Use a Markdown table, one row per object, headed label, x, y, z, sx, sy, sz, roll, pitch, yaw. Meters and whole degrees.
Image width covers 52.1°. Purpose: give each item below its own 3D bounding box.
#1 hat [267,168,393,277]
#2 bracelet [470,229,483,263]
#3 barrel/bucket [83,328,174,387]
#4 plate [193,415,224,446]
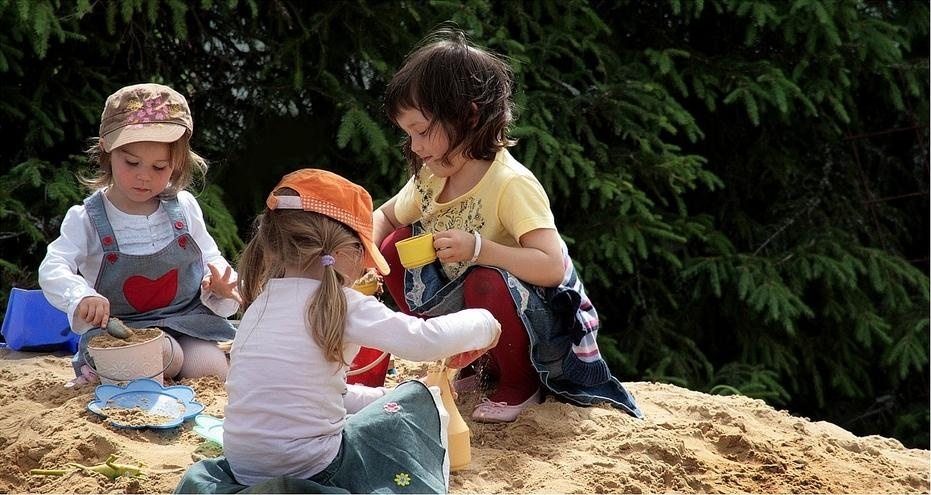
| label | x | y | z | sx | sy | sz | roll | pitch | yaw |
| --- | --- | --- | --- | --- | --- | --- | --- | --- | --- |
| hat | -0.906 | -0.184 | 6.573 | 0.855 | 0.433 | 0.594 | 25 | -5 | -23 |
| bracelet | 0.065 | -0.005 | 6.915 | 0.043 | 0.168 | 0.151 | 2 | 10 | -17 |
| barrel/bucket | -2.533 | 0.807 | 7.072 | 0.444 | 0.337 | 0.447 | -3 | 5 | 0 |
| plate | -1.837 | 1.285 | 6.775 | 0.207 | 0.023 | 0.221 | 24 | 18 | 26 |
